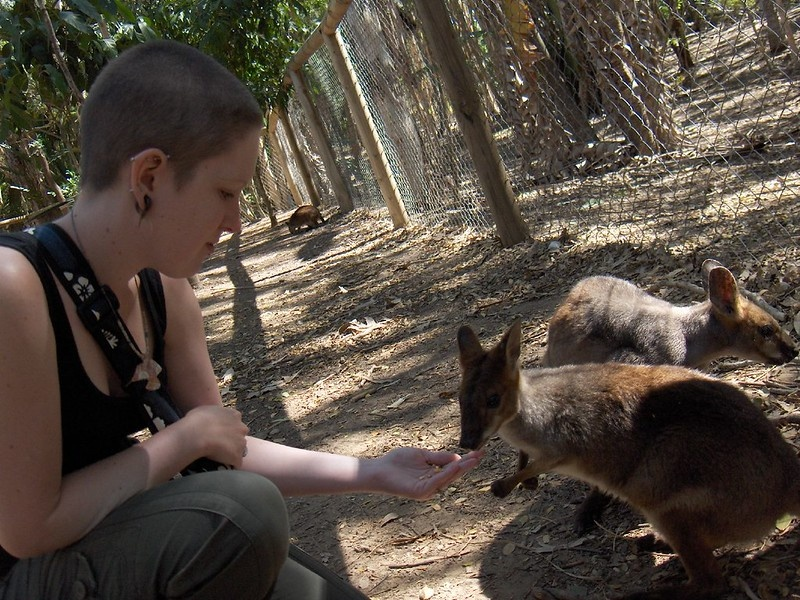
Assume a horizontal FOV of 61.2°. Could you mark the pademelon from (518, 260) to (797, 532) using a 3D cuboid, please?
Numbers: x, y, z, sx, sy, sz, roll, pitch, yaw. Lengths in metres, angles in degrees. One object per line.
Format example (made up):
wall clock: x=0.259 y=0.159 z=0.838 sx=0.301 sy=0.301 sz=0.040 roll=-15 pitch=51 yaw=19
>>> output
pademelon: x=1.137 y=0.424 z=2.936 sx=1.152 sy=0.861 sz=0.401 roll=-27 pitch=19 yaw=21

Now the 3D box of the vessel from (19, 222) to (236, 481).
vessel: x=-0.745 y=0.146 z=2.132 sx=0.199 sy=0.889 sz=0.484 roll=-17 pitch=17 yaw=-9

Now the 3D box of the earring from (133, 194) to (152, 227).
earring: x=-0.740 y=-0.268 z=1.963 sx=0.066 sy=0.078 sz=0.019 roll=-15 pitch=8 yaw=21
